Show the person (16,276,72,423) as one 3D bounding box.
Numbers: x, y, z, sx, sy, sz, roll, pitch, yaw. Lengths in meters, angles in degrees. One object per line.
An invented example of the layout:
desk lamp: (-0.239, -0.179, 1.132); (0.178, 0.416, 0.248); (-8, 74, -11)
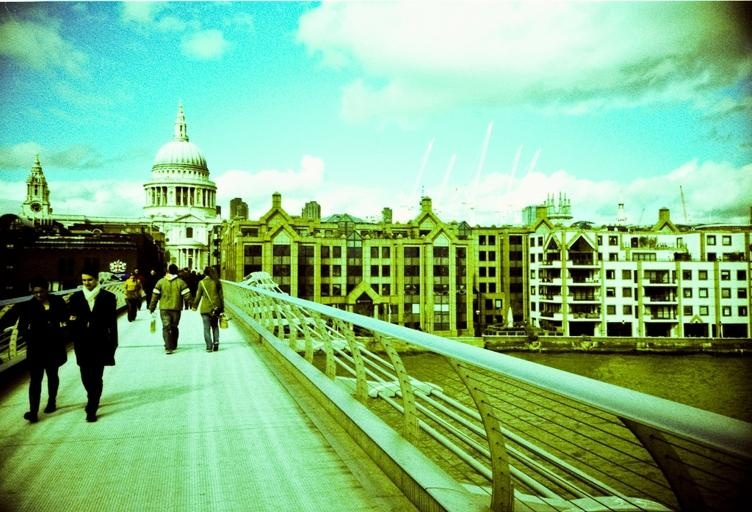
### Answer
person: (-5.246, 1.462, 11.720); (0.684, 2.139, 0.773); (-3, 7, -25)

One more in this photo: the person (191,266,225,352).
person: (-3.873, 1.204, 17.196); (0.617, 2.024, 1.554); (-1, 6, -11)

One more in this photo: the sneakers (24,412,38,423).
sneakers: (-5.342, 2.488, 11.465); (0.185, 0.149, 0.209); (-3, 7, -25)

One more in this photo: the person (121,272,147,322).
person: (-7.684, 1.247, 23.537); (0.653, 1.629, 0.560); (3, 14, -18)

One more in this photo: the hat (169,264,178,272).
hat: (-4.528, 0.279, 16.520); (0.238, 0.167, 0.229); (3, 15, -10)

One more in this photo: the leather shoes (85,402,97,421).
leather shoes: (-4.399, 2.419, 11.467); (0.113, 0.227, 0.330); (5, 13, 0)

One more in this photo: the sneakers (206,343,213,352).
sneakers: (-3.757, 2.059, 16.682); (0.156, 0.183, 0.163); (0, 6, -3)
